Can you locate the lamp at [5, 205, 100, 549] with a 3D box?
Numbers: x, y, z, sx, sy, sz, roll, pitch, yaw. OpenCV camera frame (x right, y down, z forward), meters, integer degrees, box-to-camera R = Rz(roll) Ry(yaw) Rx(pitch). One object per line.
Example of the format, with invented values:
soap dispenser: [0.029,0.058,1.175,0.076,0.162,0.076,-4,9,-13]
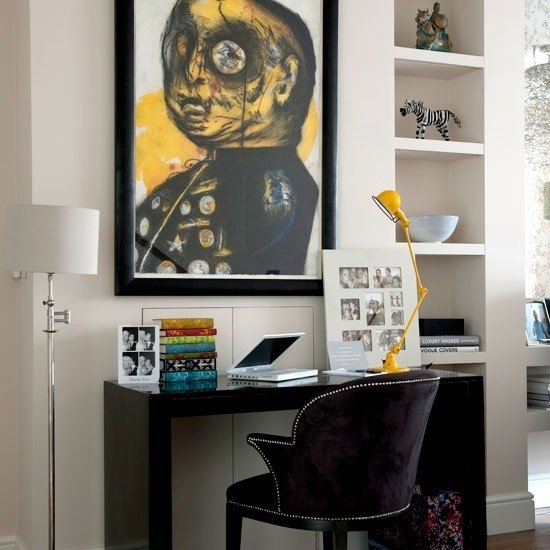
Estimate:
lamp: [-0.793,0.382,2.396,0.303,1.308,0.379,-1,-1,-18]

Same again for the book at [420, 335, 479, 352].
book: [0.862,0.340,3.258,0.333,0.070,0.028,-2,-1,-17]

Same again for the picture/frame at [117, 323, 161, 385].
picture/frame: [-0.522,0.305,2.515,0.165,0.279,0.013,1,-5,-16]

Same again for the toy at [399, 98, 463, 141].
toy: [0.795,-0.813,3.430,0.437,0.190,0.219,-1,-1,-30]

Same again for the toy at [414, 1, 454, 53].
toy: [0.828,-1.249,3.372,0.211,0.207,0.128,-1,-1,-13]

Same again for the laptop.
laptop: [-0.029,0.284,2.644,0.216,0.173,0.227,-4,-5,36]

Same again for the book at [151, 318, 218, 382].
book: [-0.362,0.252,2.621,0.237,0.309,0.201,0,-2,-17]

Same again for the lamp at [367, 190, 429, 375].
lamp: [0.524,0.037,2.826,0.247,0.784,0.156,4,-4,2]

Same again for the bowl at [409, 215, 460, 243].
bowl: [0.778,-0.228,3.274,0.146,0.097,0.167,0,-4,-5]
